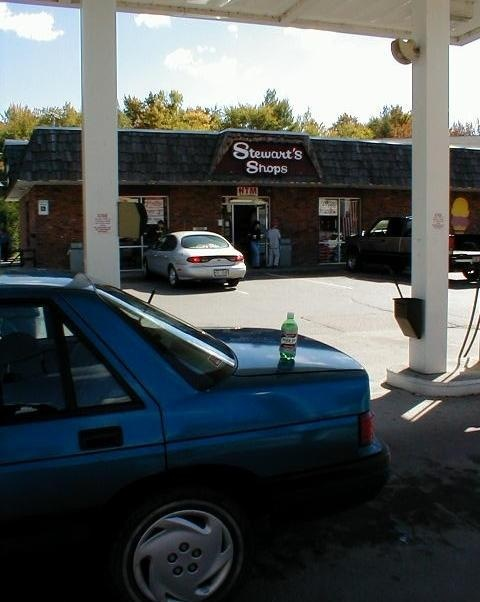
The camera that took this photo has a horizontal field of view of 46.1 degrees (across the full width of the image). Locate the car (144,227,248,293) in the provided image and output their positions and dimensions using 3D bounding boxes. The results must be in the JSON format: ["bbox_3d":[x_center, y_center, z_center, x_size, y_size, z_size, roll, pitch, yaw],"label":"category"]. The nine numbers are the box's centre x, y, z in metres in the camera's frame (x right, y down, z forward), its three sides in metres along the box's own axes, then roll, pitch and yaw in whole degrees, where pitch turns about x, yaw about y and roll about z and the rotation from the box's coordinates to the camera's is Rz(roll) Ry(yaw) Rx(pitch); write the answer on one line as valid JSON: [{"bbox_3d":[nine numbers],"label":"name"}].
[{"bbox_3d":[-1.442,-1.315,16.368,1.347,1.040,3.028,-3,15,-20],"label":"car"}]
